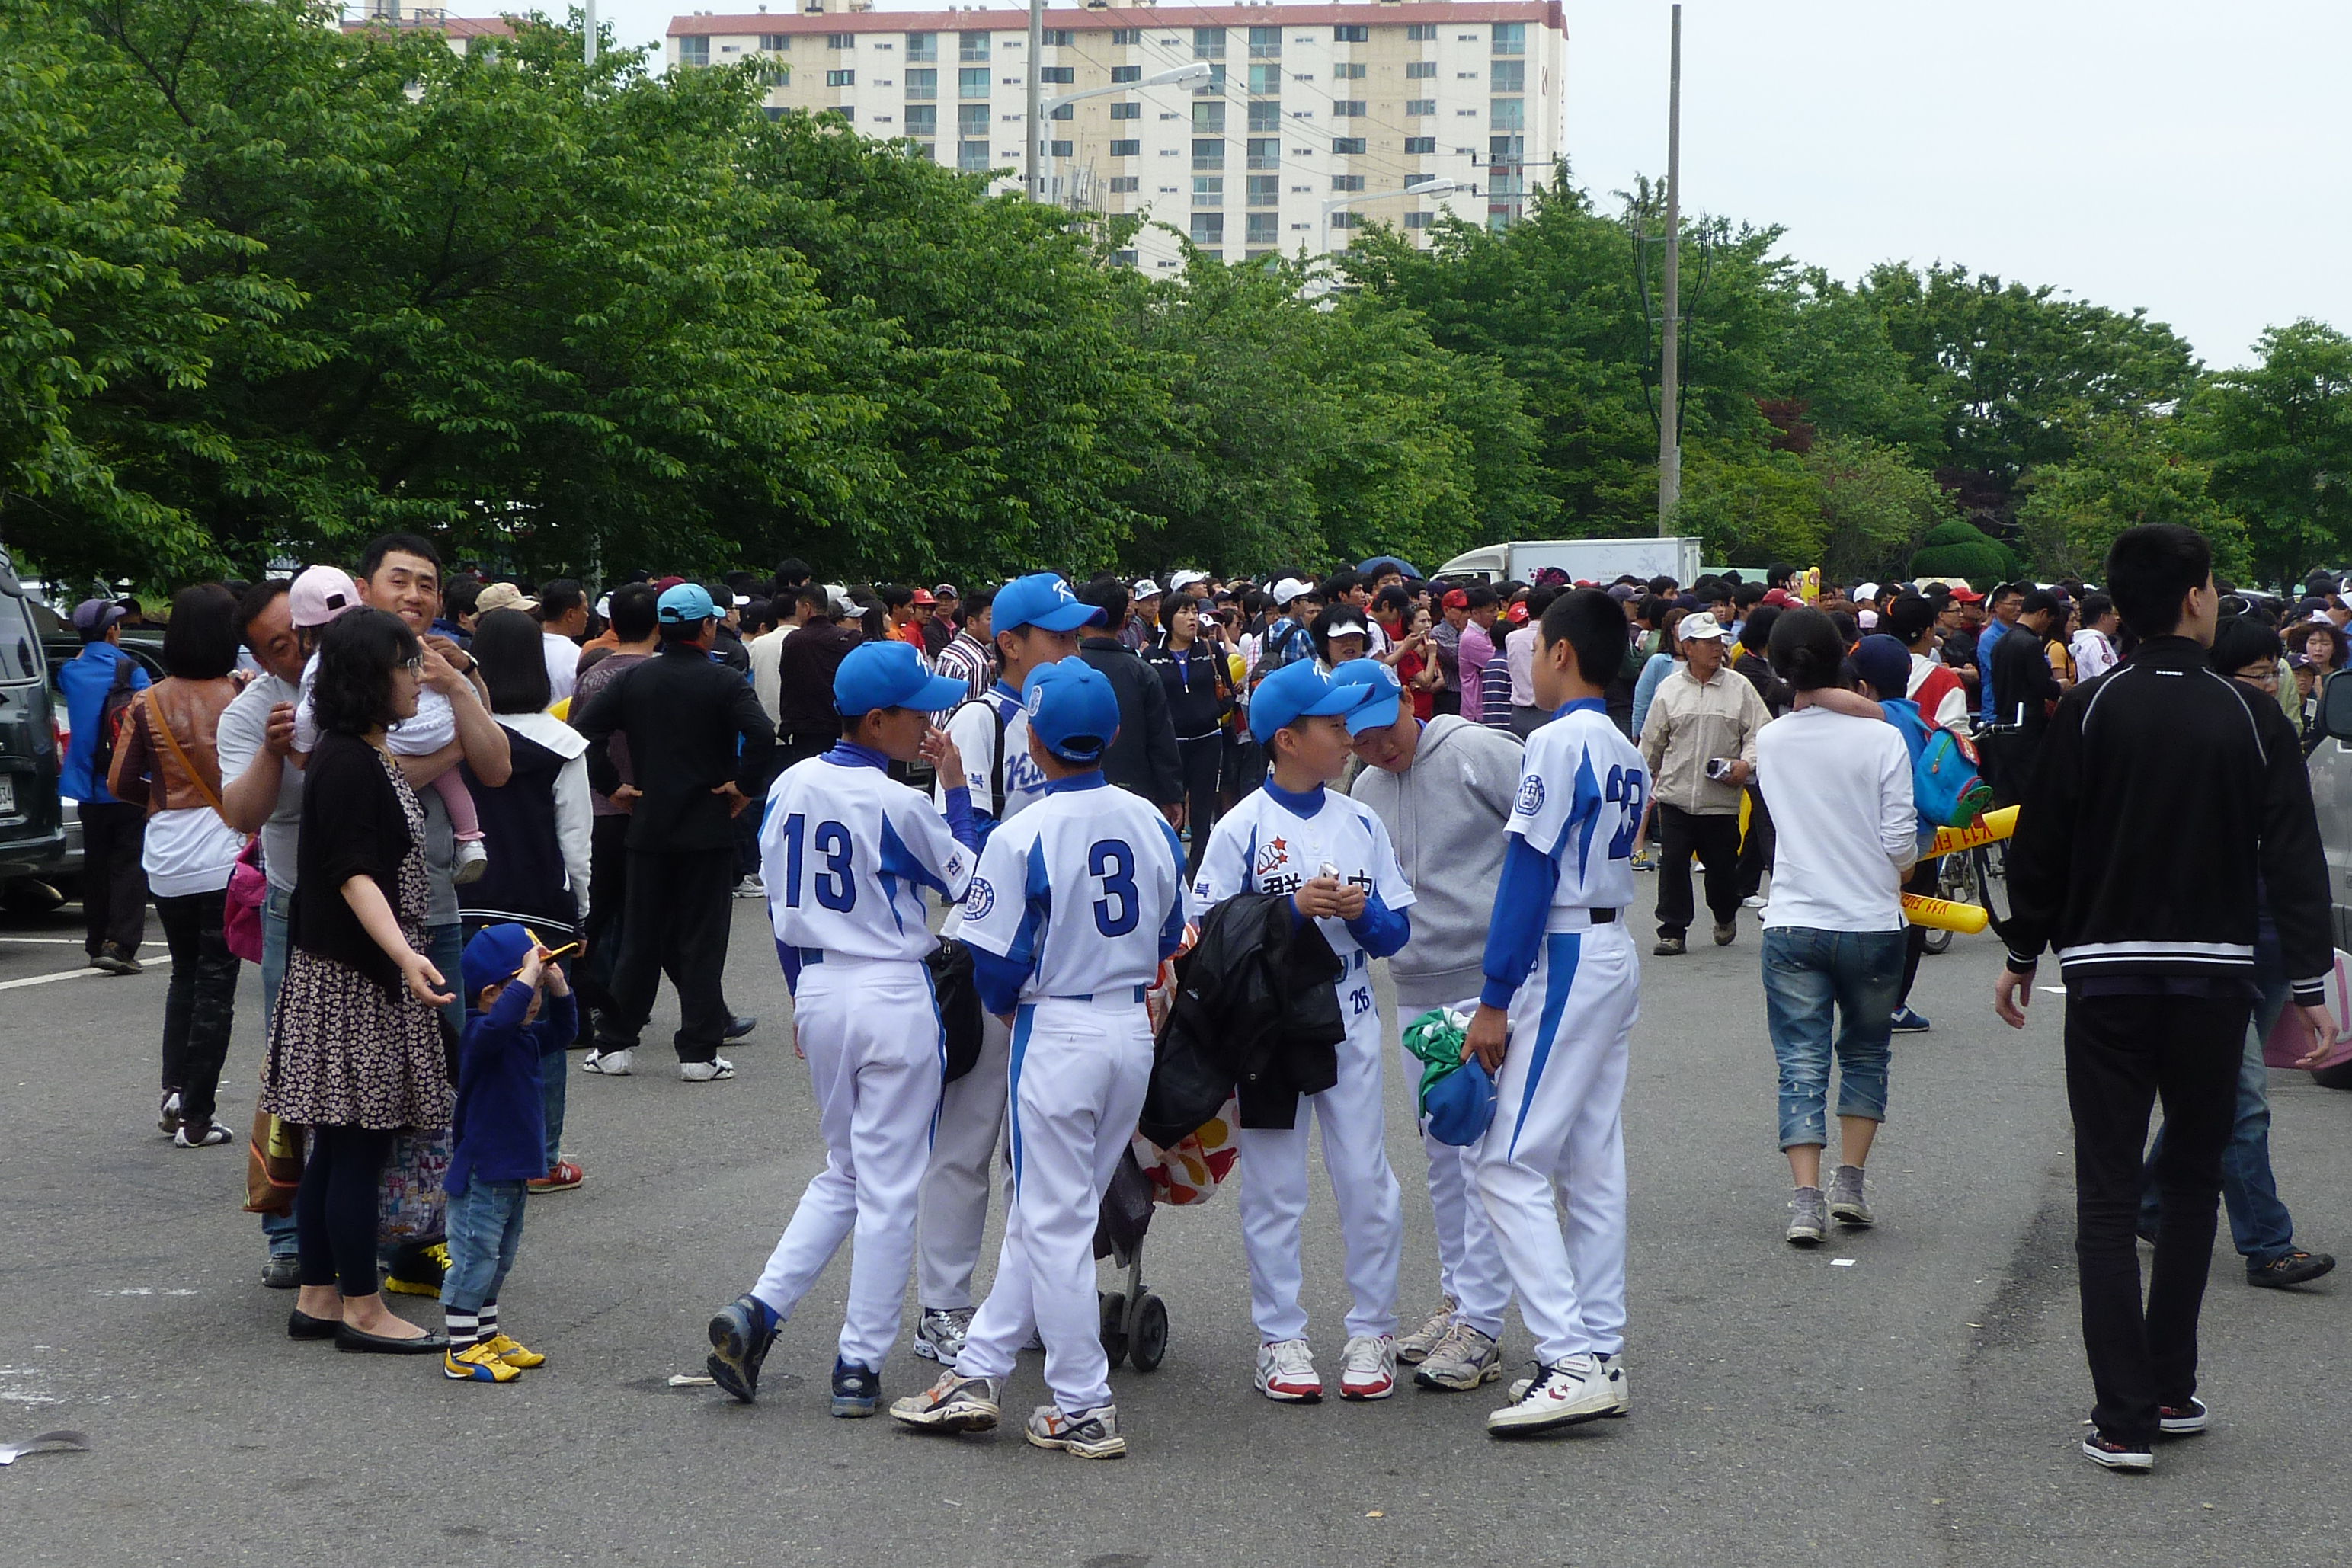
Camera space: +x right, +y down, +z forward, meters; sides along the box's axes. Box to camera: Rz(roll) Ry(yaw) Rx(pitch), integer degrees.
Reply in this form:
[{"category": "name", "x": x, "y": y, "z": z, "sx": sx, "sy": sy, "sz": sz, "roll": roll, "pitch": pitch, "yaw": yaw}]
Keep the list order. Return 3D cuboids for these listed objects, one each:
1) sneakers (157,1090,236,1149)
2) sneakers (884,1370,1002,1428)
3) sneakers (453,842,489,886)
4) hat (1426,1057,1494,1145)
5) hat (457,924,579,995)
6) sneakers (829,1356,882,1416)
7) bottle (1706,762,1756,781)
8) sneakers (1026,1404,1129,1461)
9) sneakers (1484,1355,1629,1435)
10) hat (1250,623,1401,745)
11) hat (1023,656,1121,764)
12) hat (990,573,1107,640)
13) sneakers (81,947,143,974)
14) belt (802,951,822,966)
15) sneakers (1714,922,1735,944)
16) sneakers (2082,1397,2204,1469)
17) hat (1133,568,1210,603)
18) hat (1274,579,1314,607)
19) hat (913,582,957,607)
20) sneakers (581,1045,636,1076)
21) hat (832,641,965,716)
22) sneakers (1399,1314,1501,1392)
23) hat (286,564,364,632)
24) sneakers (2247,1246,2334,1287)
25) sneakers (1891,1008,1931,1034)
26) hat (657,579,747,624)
[{"category": "sneakers", "x": -4.678, "y": 1.620, "z": 13.107, "sx": 0.165, "sy": 0.181, "sz": 0.447, "roll": 3, "pitch": 3, "yaw": 18}, {"category": "sneakers", "x": -0.808, "y": 2.235, "z": 9.984, "sx": 0.426, "sy": 0.204, "sz": 0.175, "roll": -3, "pitch": -28, "yaw": 14}, {"category": "sneakers", "x": -2.874, "y": 0.318, "z": 11.216, "sx": 0.202, "sy": 0.223, "sz": 0.529, "roll": 0, "pitch": -2, "yaw": -14}, {"category": "hat", "x": 1.074, "y": 1.170, "z": 10.182, "sx": 0.299, "sy": 0.313, "sz": 0.182, "roll": 7, "pitch": -12, "yaw": -18}, {"category": "hat", "x": -2.586, "y": 0.651, "z": 10.715, "sx": 0.449, "sy": 0.175, "sz": 0.276, "roll": -16, "pitch": 7, "yaw": 6}, {"category": "sneakers", "x": -1.174, "y": 2.239, "z": 10.222, "sx": 0.111, "sy": 0.127, "sz": 0.296, "roll": 3, "pitch": 1, "yaw": 5}, {"category": "bottle", "x": 3.633, "y": -0.081, "z": 17.895, "sx": 0.179, "sy": 0.101, "sz": 0.257, "roll": 0, "pitch": 1, "yaw": 37}, {"category": "sneakers", "x": -0.343, "y": 2.320, "z": 9.947, "sx": 0.361, "sy": 0.155, "sz": 0.152, "roll": 6, "pitch": 5, "yaw": 36}, {"category": "sneakers", "x": 1.422, "y": 2.234, "z": 10.031, "sx": 0.622, "sy": 0.244, "sz": 0.217, "roll": -8, "pitch": -8, "yaw": -2}, {"category": "hat", "x": 0.580, "y": -0.361, "z": 10.417, "sx": 0.489, "sy": 0.220, "sz": 0.294, "roll": -13, "pitch": 16, "yaw": -4}, {"category": "hat", "x": -0.379, "y": -0.312, "z": 10.121, "sx": 0.302, "sy": 0.400, "sz": 0.239, "roll": 1, "pitch": -40, "yaw": -10}, {"category": "hat", "x": -0.605, "y": -0.809, "z": 12.612, "sx": 0.427, "sy": 0.188, "sz": 0.285, "roll": -1, "pitch": 9, "yaw": -5}, {"category": "sneakers", "x": -6.692, "y": 1.117, "z": 17.338, "sx": 0.148, "sy": 0.149, "sz": 0.333, "roll": -5, "pitch": 7, "yaw": 22}, {"category": "belt", "x": -1.340, "y": 0.647, "z": 10.231, "sx": 0.053, "sy": 0.036, "sz": 0.051, "roll": 2, "pitch": 5, "yaw": 5}, {"category": "sneakers", "x": 3.807, "y": 1.024, "z": 18.919, "sx": 0.146, "sy": 0.150, "sz": 0.380, "roll": -1, "pitch": -4, "yaw": 7}, {"category": "sneakers", "x": 3.480, "y": 2.349, "z": 10.003, "sx": 0.194, "sy": 0.209, "sz": 0.499, "roll": -3, "pitch": 0, "yaw": -24}, {"category": "hat", "x": -0.068, "y": -1.589, "z": 21.695, "sx": 0.692, "sy": 0.217, "sz": 0.502, "roll": 2, "pitch": 3, "yaw": 14}, {"category": "hat", "x": 0.981, "y": -1.585, "z": 22.484, "sx": 0.341, "sy": 0.156, "sz": 0.249, "roll": -18, "pitch": -1, "yaw": 13}, {"category": "hat", "x": -1.946, "y": -1.577, "z": 22.519, "sx": 0.391, "sy": 0.176, "sz": 0.240, "roll": -3, "pitch": 0, "yaw": 25}, {"category": "sneakers", "x": -2.994, "y": 1.482, "z": 14.697, "sx": 0.126, "sy": 0.107, "sz": 0.249, "roll": 0, "pitch": 5, "yaw": -42}, {"category": "hat", "x": -1.031, "y": -0.390, "z": 10.333, "sx": 0.397, "sy": 0.209, "sz": 0.263, "roll": -6, "pitch": 27, "yaw": -12}, {"category": "sneakers", "x": 0.987, "y": 2.176, "z": 10.545, "sx": 0.532, "sy": 0.218, "sz": 0.185, "roll": 3, "pitch": 0, "yaw": -16}, {"category": "hat", "x": -3.444, "y": -0.745, "z": 11.110, "sx": 0.225, "sy": 0.170, "sz": 0.304, "roll": -14, "pitch": 8, "yaw": -23}, {"category": "sneakers", "x": 4.649, "y": 2.007, "z": 11.518, "sx": 0.398, "sy": 0.160, "sz": 0.142, "roll": -10, "pitch": 22, "yaw": 22}, {"category": "sneakers", "x": 4.318, "y": 1.386, "z": 16.055, "sx": 0.114, "sy": 0.126, "sz": 0.303, "roll": 4, "pitch": 4, "yaw": 43}, {"category": "hat", "x": -2.550, "y": -0.968, "z": 14.876, "sx": 0.471, "sy": 0.242, "sz": 0.716, "roll": 3, "pitch": 6, "yaw": 14}]
